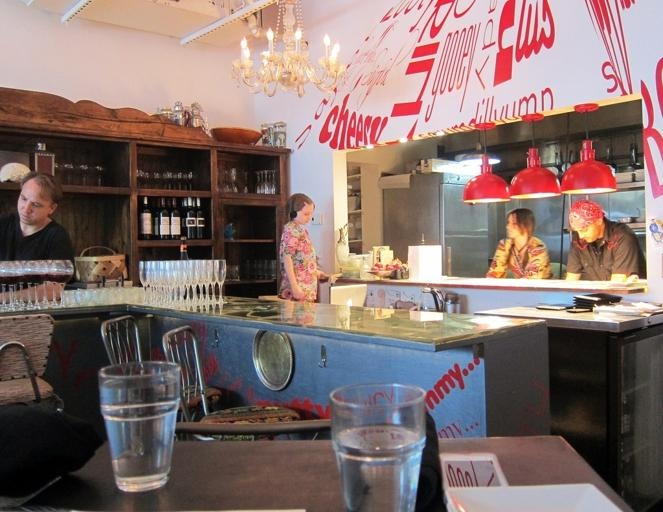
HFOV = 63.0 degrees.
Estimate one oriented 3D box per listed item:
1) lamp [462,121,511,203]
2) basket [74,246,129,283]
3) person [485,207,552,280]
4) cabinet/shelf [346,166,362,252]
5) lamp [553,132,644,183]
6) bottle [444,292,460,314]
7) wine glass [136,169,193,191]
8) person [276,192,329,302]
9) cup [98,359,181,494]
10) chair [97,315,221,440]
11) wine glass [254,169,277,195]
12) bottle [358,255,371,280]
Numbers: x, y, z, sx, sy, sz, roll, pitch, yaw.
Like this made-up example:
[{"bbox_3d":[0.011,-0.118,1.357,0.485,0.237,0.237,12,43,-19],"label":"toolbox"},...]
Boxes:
[{"bbox_3d":[1.347,-0.815,4.829,0.338,0.687,1.690,-1,4,14],"label":"lamp"},{"bbox_3d":[-1.895,0.087,4.448,0.429,0.335,0.443,0,-3,-8],"label":"basket"},{"bbox_3d":[1.804,-0.073,5.215,0.615,0.788,0.704,5,11,37],"label":"person"},{"bbox_3d":[0.320,-0.706,7.341,0.196,0.998,0.199,-2,3,2],"label":"cabinet/shelf"},{"bbox_3d":[2.647,-0.964,5.266,0.275,0.339,0.930,-1,1,-31],"label":"lamp"},{"bbox_3d":[0.917,0.357,4.120,0.117,0.149,0.096,-2,3,-1],"label":"bottle"},{"bbox_3d":[-1.653,-0.733,5.365,0.641,0.197,0.217,1,4,-19],"label":"wine glass"},{"bbox_3d":[-0.232,-0.051,4.448,0.315,0.890,0.757,-1,4,23],"label":"person"},{"bbox_3d":[-0.323,0.264,0.977,0.173,0.267,0.174,-1,6,0],"label":"cup"},{"bbox_3d":[-0.808,0.676,2.697,0.493,0.846,0.446,-1,-16,-13],"label":"chair"},{"bbox_3d":[-0.706,-0.794,5.830,0.296,0.298,0.200,-3,6,-21],"label":"wine glass"},{"bbox_3d":[0.325,0.101,5.079,0.111,0.213,0.182,-2,3,3],"label":"bottle"}]
